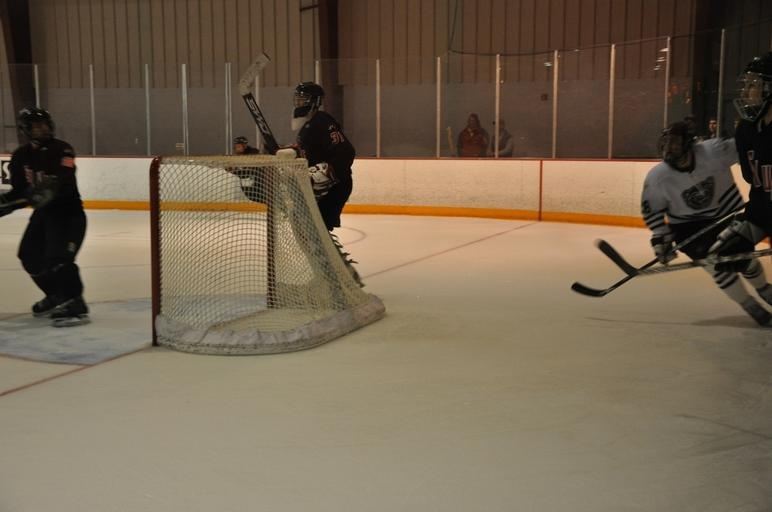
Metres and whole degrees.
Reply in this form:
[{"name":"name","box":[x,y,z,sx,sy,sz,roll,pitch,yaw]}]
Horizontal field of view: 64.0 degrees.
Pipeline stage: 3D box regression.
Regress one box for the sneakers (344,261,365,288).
[{"name":"sneakers","box":[-0.235,0.134,4.514,0.070,0.213,0.113,-41,47,7]}]

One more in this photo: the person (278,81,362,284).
[{"name":"person","box":[-0.576,-0.557,4.954,0.820,1.580,0.715,4,2,39]}]

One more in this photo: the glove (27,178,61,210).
[{"name":"glove","box":[-2.218,-0.410,3.981,0.180,0.197,0.075,-3,13,-13]}]

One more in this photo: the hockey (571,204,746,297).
[{"name":"hockey","box":[1.652,0.007,4.040,1.316,0.057,0.462,-31,23,7]}]

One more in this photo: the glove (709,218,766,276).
[{"name":"glove","box":[2.172,-0.061,3.801,0.406,0.179,0.140,-39,5,19]}]

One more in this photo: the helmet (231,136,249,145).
[{"name":"helmet","box":[-2.144,-1.688,9.124,0.254,0.102,0.335,2,5,-2]}]

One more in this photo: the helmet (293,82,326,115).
[{"name":"helmet","box":[-0.609,-1.221,4.815,0.269,0.239,0.222,-12,23,-18]}]

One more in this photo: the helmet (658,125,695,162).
[{"name":"helmet","box":[1.840,-0.726,3.891,0.241,0.212,0.178,-5,7,-15]}]

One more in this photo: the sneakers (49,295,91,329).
[{"name":"sneakers","box":[-2.021,0.365,3.941,0.259,0.225,0.153,11,-15,-32]}]

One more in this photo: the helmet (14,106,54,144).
[{"name":"helmet","box":[-2.284,-0.850,4.030,0.254,0.219,0.193,10,14,13]}]
